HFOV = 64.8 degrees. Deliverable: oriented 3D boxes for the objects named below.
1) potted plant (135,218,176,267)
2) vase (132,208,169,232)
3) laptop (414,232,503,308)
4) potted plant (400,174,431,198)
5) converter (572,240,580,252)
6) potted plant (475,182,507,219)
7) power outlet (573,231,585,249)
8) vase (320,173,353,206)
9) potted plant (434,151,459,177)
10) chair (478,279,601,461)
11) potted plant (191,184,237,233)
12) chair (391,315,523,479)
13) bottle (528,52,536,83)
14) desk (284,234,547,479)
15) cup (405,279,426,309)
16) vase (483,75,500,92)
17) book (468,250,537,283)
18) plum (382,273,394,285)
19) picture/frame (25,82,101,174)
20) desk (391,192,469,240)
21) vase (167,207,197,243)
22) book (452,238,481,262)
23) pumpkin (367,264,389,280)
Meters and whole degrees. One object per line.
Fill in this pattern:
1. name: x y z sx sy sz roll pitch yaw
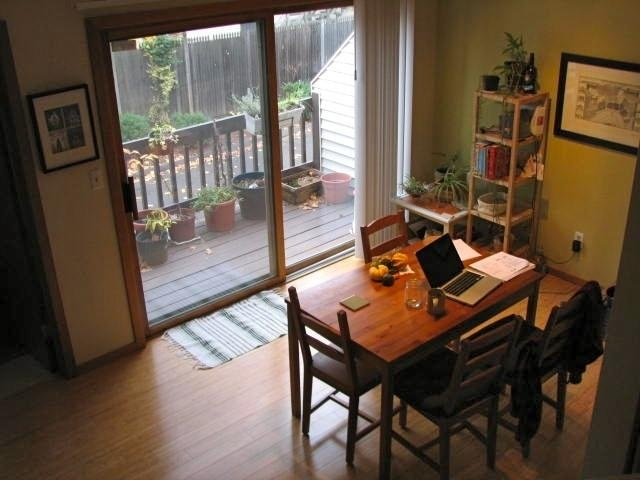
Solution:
1. potted plant: -1.345 0.035 4.209 0.291 0.259 0.333 0 15 -2
2. vase: -1.368 -0.157 4.125 0.199 0.092 0.197 -20 35 -33
3. laptop: 0.925 0.299 3.385 0.483 0.301 0.471 -34 40 -31
4. potted plant: 0.963 -0.537 5.092 0.260 0.182 0.256 1 31 0
5. converter: 2.344 0.052 4.602 0.048 0.096 0.066 -16 29 -26
6. potted plant: 1.663 -0.338 4.787 0.270 0.119 0.357 28 49 34
7. power outlet: 2.354 0.013 4.587 0.092 0.183 0.037 10 26 34
8. vase: 0.154 -0.555 5.419 0.304 0.257 0.334 20 37 35
9. potted plant: 1.352 -0.808 5.332 0.227 0.237 0.230 -18 32 -30
10. chair: 1.326 0.828 3.077 0.574 0.993 0.651 -27 40 -32
11. potted plant: -0.943 -0.276 4.490 0.365 0.388 0.377 -9 32 -11
12. chair: 0.826 0.937 3.004 0.554 0.912 0.596 -21 38 -27
13. bottle: 1.836 -1.499 4.341 0.078 0.221 0.363 4 24 23
14. desk: 0.597 1.092 3.747 2.005 1.362 1.136 -25 38 -33
15. cup: 0.603 0.345 3.161 0.124 0.172 0.171 14 36 27
16. vase: 1.494 -1.363 4.404 0.075 0.104 0.139 21 39 39
17. book: 1.270 0.190 3.505 0.242 0.031 0.253 -28 38 -28
18. plum: 0.460 0.270 3.370 0.066 0.068 0.064 14 32 31
19. picture/frame: -1.784 -0.785 3.457 0.486 0.596 0.041 -28 35 -36
20. desk: 1.078 -0.293 4.869 0.407 0.517 0.526 -26 41 -32
21. vase: -1.161 -0.120 4.273 0.238 0.218 0.266 -1 11 -3
22. book: 1.080 0.085 3.722 0.159 0.025 0.177 -16 39 -20
23. pumpkin: 0.395 0.202 3.415 0.103 0.096 0.103 -20 27 -22
